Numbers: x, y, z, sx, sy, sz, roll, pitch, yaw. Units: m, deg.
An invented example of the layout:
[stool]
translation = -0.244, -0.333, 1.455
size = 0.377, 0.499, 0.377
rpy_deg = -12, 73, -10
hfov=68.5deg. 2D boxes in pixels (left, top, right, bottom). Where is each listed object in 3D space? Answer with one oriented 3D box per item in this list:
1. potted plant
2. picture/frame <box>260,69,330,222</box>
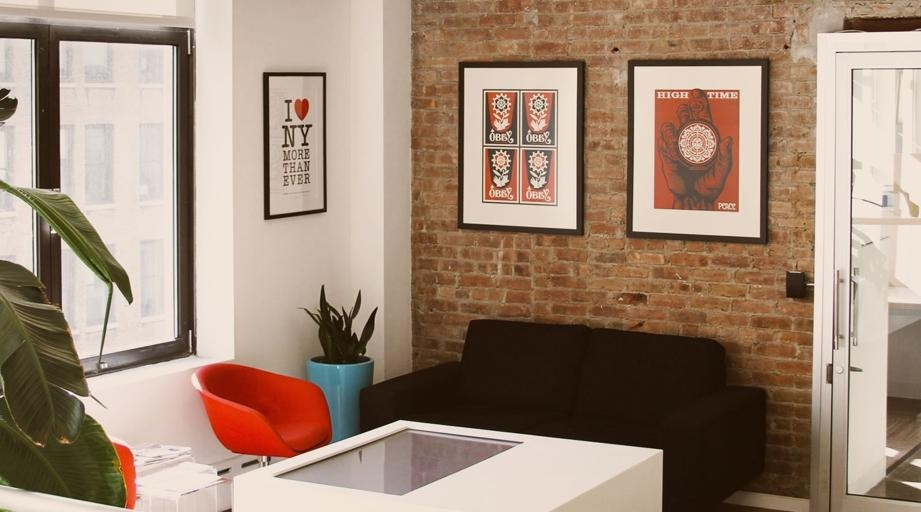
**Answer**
[potted plant]
translation = -1.058, 0.955, 5.785
size = 0.508, 1.205, 0.642
rpy_deg = 1, -1, 36
[picture/frame]
translation = -1.403, -0.936, 5.684
size = 0.098, 1.197, 0.703
rpy_deg = 8, 11, 39
